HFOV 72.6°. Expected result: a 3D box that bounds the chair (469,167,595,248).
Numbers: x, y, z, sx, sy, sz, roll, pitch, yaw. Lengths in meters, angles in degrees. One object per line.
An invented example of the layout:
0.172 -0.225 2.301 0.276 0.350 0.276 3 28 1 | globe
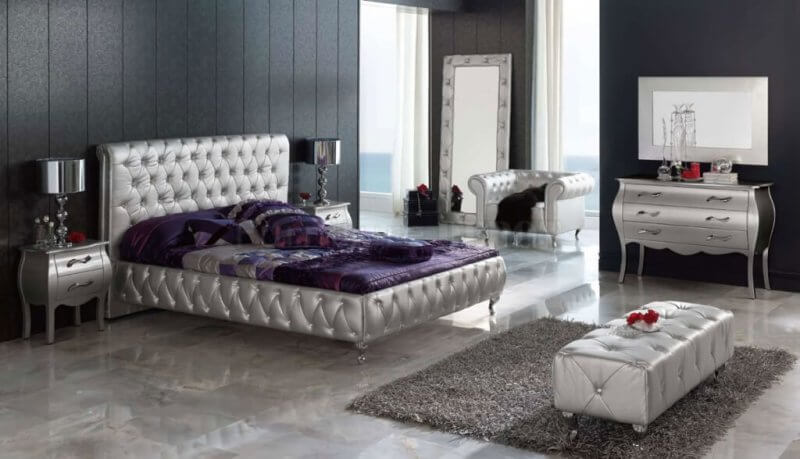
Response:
2.139 -0.421 8.726 1.744 0.968 1.257 6 12 39 | chair

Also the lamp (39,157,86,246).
-3.210 -0.330 5.171 0.322 0.586 0.306 15 9 10 | lamp

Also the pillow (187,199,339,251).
-1.357 -0.032 5.690 0.888 0.244 0.746 4 8 29 | pillow

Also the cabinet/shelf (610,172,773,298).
3.482 0.055 6.509 0.672 1.139 1.633 -6 9 -40 | cabinet/shelf

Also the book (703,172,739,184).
3.594 -0.581 6.113 0.333 0.122 0.166 3 13 24 | book

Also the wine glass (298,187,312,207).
-1.234 -0.413 7.071 0.231 0.233 0.219 -2 1 -10 | wine glass

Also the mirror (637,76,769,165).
3.695 -1.322 6.533 1.257 0.815 0.046 3 7 30 | mirror

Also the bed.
-0.991 -0.033 5.853 3.469 1.702 2.748 6 10 25 | bed

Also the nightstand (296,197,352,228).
-0.937 -0.220 7.040 0.404 0.510 0.578 4 9 26 | nightstand

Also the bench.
2.103 0.854 4.262 1.422 0.399 0.631 -4 12 -44 | bench
